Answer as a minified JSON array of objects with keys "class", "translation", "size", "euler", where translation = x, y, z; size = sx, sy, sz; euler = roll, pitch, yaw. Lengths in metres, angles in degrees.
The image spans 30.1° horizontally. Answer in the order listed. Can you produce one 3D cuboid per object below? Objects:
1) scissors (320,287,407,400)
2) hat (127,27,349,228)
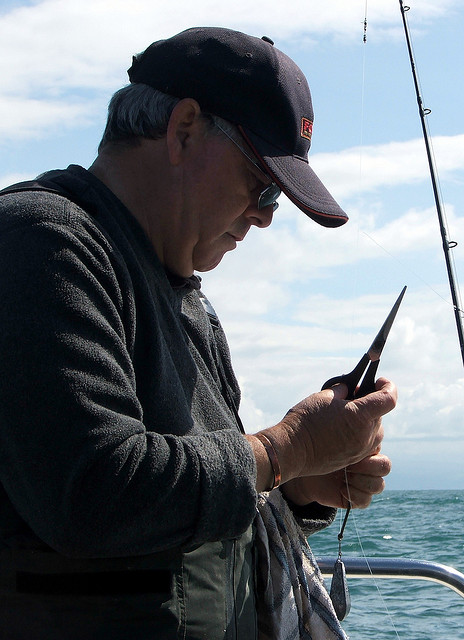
[{"class":"scissors","translation":[0.388,0.095,2.163],"size":[0.237,0.351,0.221],"euler":[6,3,24]},{"class":"hat","translation":[0.028,-0.434,1.909],"size":[0.479,0.419,0.209],"euler":[0,-15,-6]}]
